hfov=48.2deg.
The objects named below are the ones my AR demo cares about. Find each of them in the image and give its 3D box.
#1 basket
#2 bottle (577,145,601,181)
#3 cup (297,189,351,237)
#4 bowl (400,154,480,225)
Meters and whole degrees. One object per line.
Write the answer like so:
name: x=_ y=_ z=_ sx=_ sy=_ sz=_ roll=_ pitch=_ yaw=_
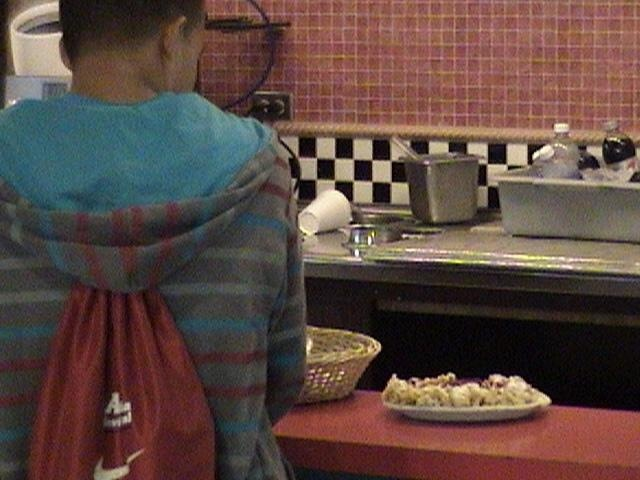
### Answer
basket: x=0.040 y=0.249 z=1.406 sx=0.155 sy=0.103 sz=0.219 roll=-2 pitch=9 yaw=4
bottle: x=0.779 y=-0.226 z=2.098 sx=0.072 sy=0.072 sz=0.090 roll=-3 pitch=13 yaw=9
cup: x=0.022 y=-0.079 z=2.159 sx=0.133 sy=0.146 sz=0.152 roll=-19 pitch=0 yaw=32
bowl: x=0.381 y=-0.158 z=2.252 sx=0.247 sy=0.192 sz=0.258 roll=-5 pitch=4 yaw=0
